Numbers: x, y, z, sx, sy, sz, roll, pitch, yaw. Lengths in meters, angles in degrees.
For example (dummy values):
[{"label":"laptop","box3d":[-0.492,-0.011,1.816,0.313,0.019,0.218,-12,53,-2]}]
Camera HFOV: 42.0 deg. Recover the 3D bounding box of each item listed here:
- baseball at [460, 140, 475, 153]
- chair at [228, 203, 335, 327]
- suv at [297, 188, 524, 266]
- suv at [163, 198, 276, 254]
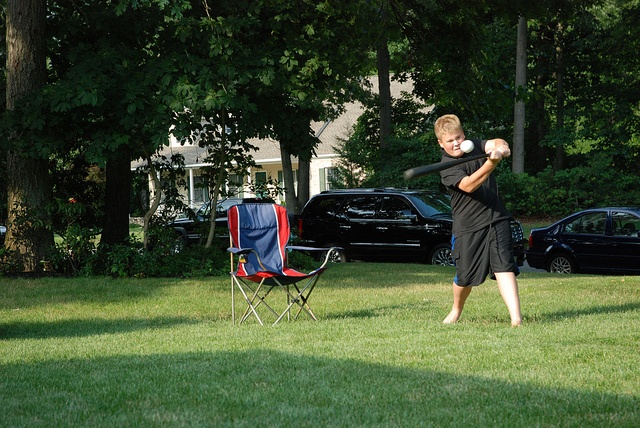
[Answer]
[{"label":"baseball","box3d":[2.232,-1.006,12.594,0.172,0.185,0.112,-12,-19,19]},{"label":"chair","box3d":[-0.897,0.857,14.673,1.370,1.987,2.295,-3,9,-7]},{"label":"suv","box3d":[2.045,0.338,21.446,4.787,2.004,2.355,-4,-2,23]},{"label":"suv","box3d":[-3.221,0.269,21.428,2.829,1.368,1.636,1,0,5]}]
